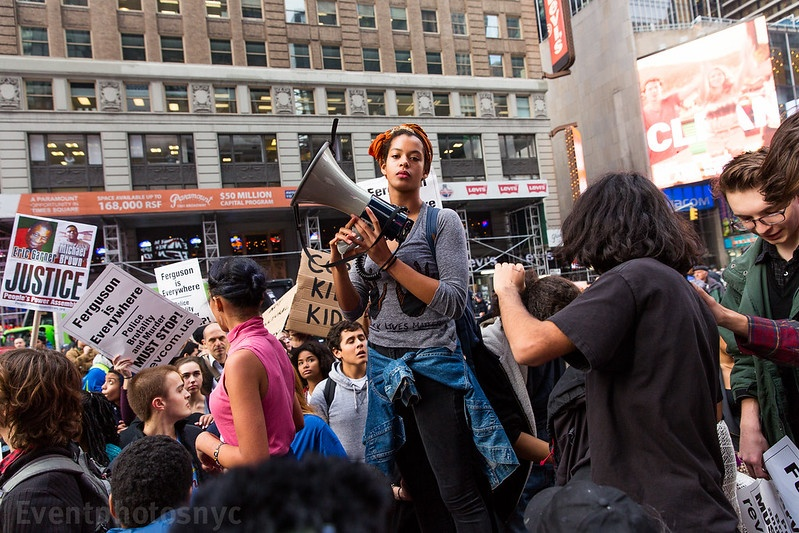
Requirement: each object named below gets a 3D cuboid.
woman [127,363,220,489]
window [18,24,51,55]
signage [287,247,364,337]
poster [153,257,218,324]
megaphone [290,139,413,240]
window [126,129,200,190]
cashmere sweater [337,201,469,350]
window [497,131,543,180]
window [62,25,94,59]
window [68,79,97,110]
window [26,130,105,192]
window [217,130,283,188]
[{"bbox_3d":[-1.807,1.249,4.565,0.630,0.864,1.063,-20,2,-15],"label":"woman"},{"bbox_3d":[-14.279,-8.798,22.393,1.378,1.547,0.123,-3,5,-14],"label":"window"},{"bbox_3d":[-1.176,0.374,8.015,1.257,1.129,0.322,8,-6,-10],"label":"signage"},{"bbox_3d":[-3.539,0.394,9.447,1.007,1.238,0.140,-17,-21,-8],"label":"poster"},{"bbox_3d":[-0.280,-0.526,4.162,0.891,0.613,0.532,29,-10,3],"label":"megaphone"},{"bbox_3d":[-9.769,-4.291,23.415,2.745,2.361,0.335,-3,-10,-31],"label":"window"},{"bbox_3d":[0.039,0.063,4.087,0.549,0.892,0.908,18,-24,-35],"label":"cashmere sweater"},{"bbox_3d":[6.140,-5.650,29.760,2.921,3.300,0.271,0,-15,-22],"label":"window"},{"bbox_3d":[-12.856,-8.841,22.849,1.574,1.684,0.145,-3,2,-13],"label":"window"},{"bbox_3d":[-12.588,-6.750,22.683,1.046,1.324,0.138,-23,-23,-26],"label":"window"},{"bbox_3d":[-13.067,-4.036,22.216,2.702,2.326,0.338,-2,-4,-23],"label":"window"},{"bbox_3d":[-6.577,-4.593,24.778,2.811,2.610,0.204,-2,-5,-29],"label":"window"}]
